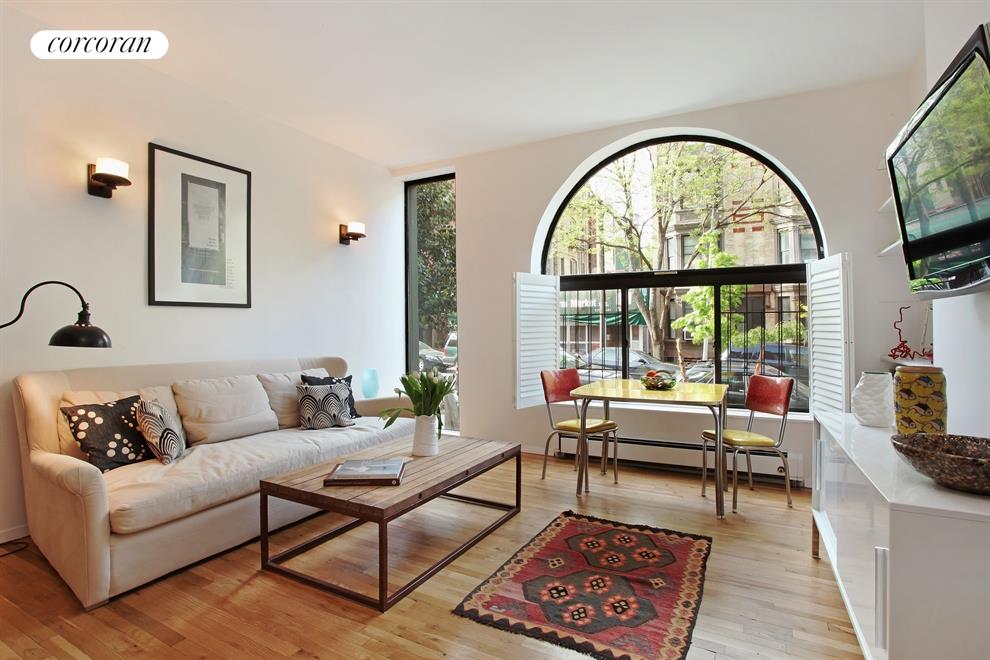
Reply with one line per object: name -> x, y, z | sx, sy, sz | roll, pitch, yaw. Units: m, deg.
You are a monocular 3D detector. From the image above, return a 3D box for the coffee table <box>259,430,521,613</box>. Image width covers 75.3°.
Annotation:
coffee table -> -0.634, 1.213, 4.623 | 1.003, 0.586, 1.785 | 3, 5, 29

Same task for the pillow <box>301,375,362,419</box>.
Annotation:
pillow -> -1.408, 0.563, 5.499 | 0.415, 0.389, 0.129 | 0, -13, -5

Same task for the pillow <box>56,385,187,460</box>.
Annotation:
pillow -> -2.422, 0.628, 4.394 | 0.549, 0.540, 0.167 | 2, -42, -50

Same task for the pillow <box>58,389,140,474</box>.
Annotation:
pillow -> -2.647, 0.706, 4.270 | 0.138, 0.429, 0.456 | -29, -5, 25

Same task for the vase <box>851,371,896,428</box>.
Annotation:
vase -> 2.291, 0.420, 3.818 | 0.239, 0.335, 0.253 | 7, -3, -22

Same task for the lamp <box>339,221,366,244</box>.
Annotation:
lamp -> -1.399, -0.948, 6.345 | 0.228, 0.194, 0.225 | 0, 0, 19

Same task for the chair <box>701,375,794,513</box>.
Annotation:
chair -> 1.995, 0.854, 5.102 | 0.619, 0.989, 0.600 | 0, 2, -25

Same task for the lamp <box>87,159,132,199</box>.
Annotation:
lamp -> -2.781, -1.062, 4.663 | 0.272, 0.250, 0.285 | 0, -1, 17

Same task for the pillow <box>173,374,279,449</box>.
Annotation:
pillow -> -2.071, 0.615, 4.974 | 0.370, 0.518, 0.770 | -5, 0, 38

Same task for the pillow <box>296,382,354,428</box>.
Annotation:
pillow -> -1.420, 0.619, 5.251 | 0.338, 0.274, 0.153 | -4, 10, -32

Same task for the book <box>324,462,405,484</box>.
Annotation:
book -> -0.833, 0.907, 4.128 | 0.476, 0.066, 0.307 | 0, 14, 0

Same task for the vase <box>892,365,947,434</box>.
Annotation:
vase -> 2.350, 0.405, 3.547 | 0.261, 0.395, 0.241 | 1, 2, 43

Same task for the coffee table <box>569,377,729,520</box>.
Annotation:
coffee table -> 1.301, 0.909, 5.203 | 1.140, 0.834, 0.929 | 1, 2, 23

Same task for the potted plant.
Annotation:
potted plant -> -0.528, 0.584, 4.507 | 0.475, 0.495, 0.293 | -1, -4, -33

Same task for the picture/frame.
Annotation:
picture/frame -> -2.394, -0.820, 5.135 | 0.887, 1.284, 0.366 | -11, 18, -35

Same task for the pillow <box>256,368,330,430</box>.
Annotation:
pillow -> -1.686, 0.626, 5.601 | 0.309, 0.584, 0.865 | -11, -6, 16
